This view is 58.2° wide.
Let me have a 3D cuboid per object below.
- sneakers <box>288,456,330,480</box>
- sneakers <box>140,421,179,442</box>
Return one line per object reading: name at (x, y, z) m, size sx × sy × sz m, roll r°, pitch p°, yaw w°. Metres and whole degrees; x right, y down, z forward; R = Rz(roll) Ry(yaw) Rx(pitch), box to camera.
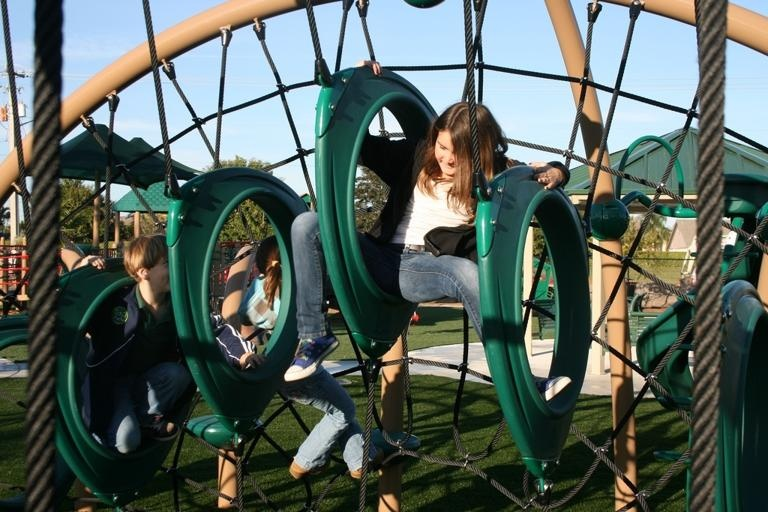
sneakers at (-0.497, 1.444, 4.647) m, size 0.243 × 0.201 × 0.136 m, roll -4°, pitch -32°, yaw -9°
sneakers at (-1.316, 1.027, 4.050) m, size 0.213 × 0.089 × 0.095 m, roll 1°, pitch -3°, yaw -18°
